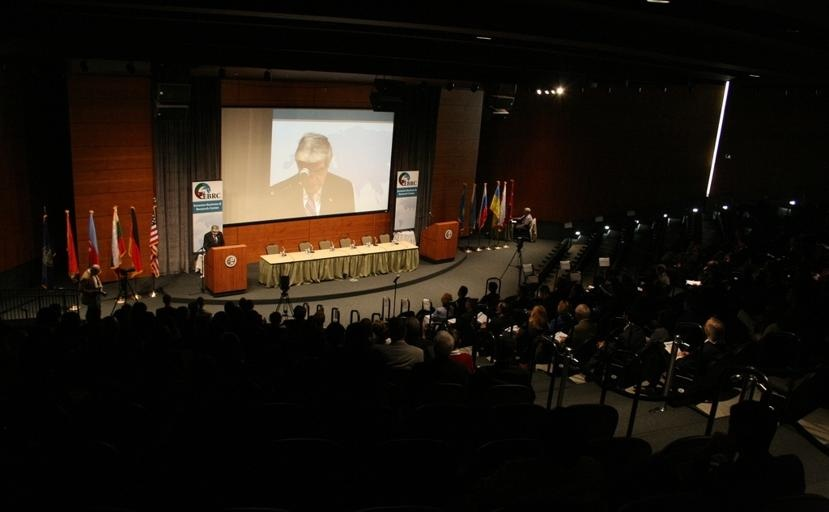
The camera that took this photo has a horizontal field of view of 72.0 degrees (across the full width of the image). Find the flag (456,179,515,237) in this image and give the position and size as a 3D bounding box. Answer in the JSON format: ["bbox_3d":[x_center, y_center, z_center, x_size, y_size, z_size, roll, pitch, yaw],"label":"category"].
[{"bbox_3d":[2.715,-1.805,22.022,2.484,2.618,0.616,-5,30,-24],"label":"flag"}]

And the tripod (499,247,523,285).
[{"bbox_3d":[3.249,0.118,18.554,0.882,1.368,1.095,5,8,2],"label":"tripod"}]

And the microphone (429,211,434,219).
[{"bbox_3d":[0.543,-1.515,20.805,0.209,0.206,0.129,4,7,36],"label":"microphone"}]

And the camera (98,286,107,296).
[{"bbox_3d":[-7.748,0.866,13.941,0.102,0.252,0.254,-38,4,-41],"label":"camera"}]

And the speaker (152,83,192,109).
[{"bbox_3d":[-6.185,-4.056,14.278,1.093,0.726,0.576,-2,44,-22],"label":"speaker"}]

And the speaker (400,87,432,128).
[{"bbox_3d":[0.041,-5.058,19.314,1.380,1.284,0.442,-6,9,-39],"label":"speaker"}]
